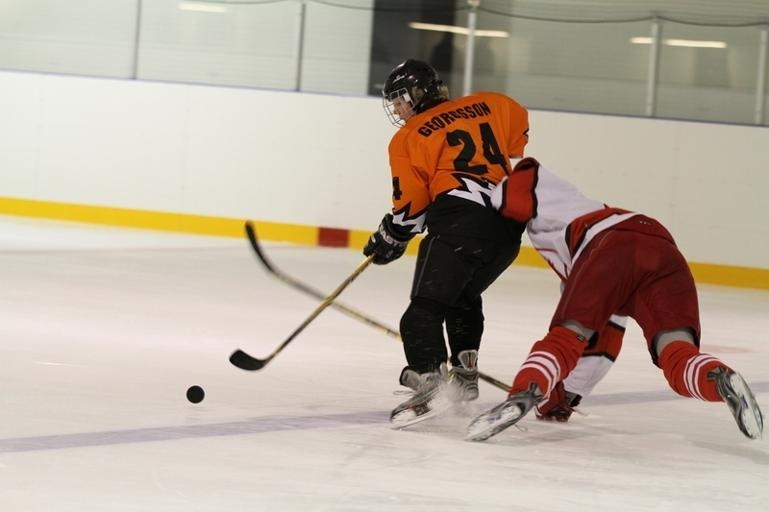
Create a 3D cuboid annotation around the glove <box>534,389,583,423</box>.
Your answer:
[{"bbox_3d":[0.737,0.624,3.581,0.190,0.079,0.107,-9,8,-15],"label":"glove"}]

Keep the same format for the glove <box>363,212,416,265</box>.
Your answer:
[{"bbox_3d":[0.017,-0.075,3.806,0.178,0.250,0.120,52,21,13],"label":"glove"}]

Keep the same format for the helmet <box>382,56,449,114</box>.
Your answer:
[{"bbox_3d":[0.118,-0.748,3.813,0.285,0.216,0.205,-2,15,28],"label":"helmet"}]

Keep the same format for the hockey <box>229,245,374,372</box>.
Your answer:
[{"bbox_3d":[-0.464,0.307,4.752,1.197,0.066,0.207,-29,62,-34],"label":"hockey"}]

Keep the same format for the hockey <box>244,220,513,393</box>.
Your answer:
[{"bbox_3d":[-0.028,0.280,4.283,1.128,0.025,0.535,25,58,29],"label":"hockey"}]

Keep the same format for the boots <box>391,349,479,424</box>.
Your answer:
[{"bbox_3d":[0.256,0.534,3.507,0.534,0.206,0.163,-9,-14,-47],"label":"boots"}]

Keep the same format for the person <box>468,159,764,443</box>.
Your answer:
[{"bbox_3d":[0.877,0.205,3.272,1.051,1.062,0.559,8,9,3],"label":"person"}]
